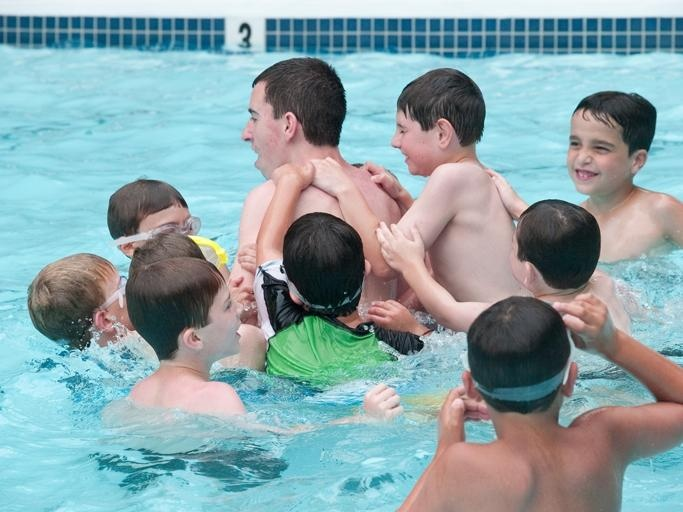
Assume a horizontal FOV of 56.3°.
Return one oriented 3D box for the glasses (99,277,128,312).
[{"bbox_3d":[-1.175,0.208,3.389,0.085,0.178,0.152,18,-8,-11],"label":"glasses"}]
